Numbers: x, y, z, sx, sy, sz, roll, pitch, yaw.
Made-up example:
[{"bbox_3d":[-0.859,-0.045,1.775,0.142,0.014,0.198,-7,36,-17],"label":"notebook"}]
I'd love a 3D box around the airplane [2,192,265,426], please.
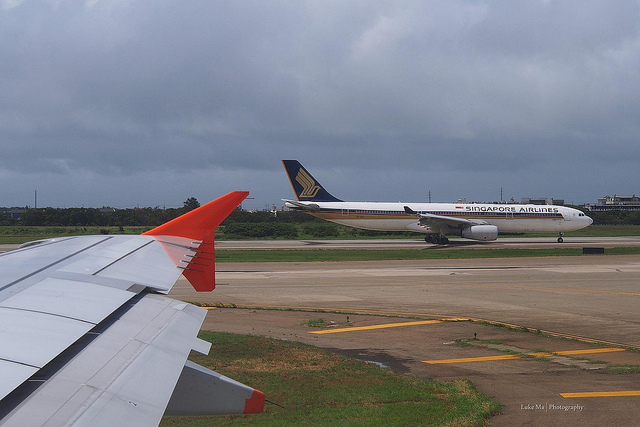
[{"bbox_3d":[-3.180,1.841,10.291,4.167,1.978,6.301,1,4,-6],"label":"airplane"}]
